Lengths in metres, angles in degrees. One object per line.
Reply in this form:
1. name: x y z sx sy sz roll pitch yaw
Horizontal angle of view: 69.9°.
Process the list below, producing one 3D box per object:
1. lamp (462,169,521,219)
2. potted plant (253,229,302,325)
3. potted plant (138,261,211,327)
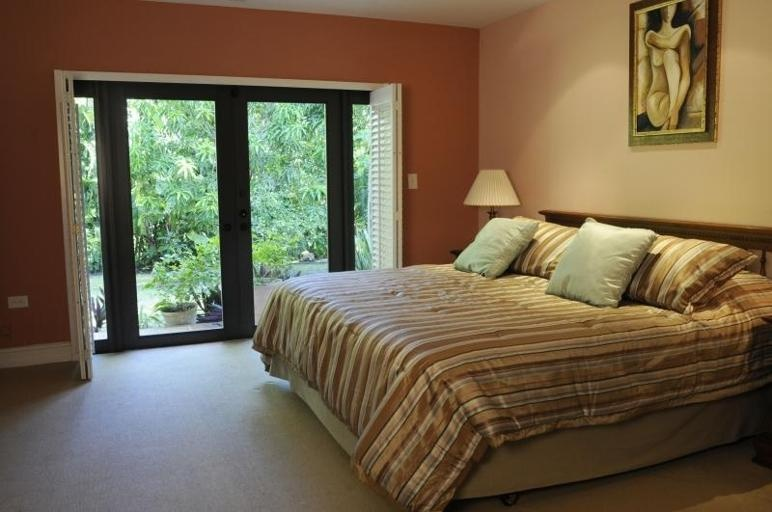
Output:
1. lamp: 1.009 -0.564 5.607 0.523 0.770 0.481 0 0 -2
2. potted plant: -1.198 0.200 6.219 0.691 1.184 0.854 -2 6 -20
3. potted plant: -2.093 0.360 5.595 0.562 0.567 0.580 0 8 7
